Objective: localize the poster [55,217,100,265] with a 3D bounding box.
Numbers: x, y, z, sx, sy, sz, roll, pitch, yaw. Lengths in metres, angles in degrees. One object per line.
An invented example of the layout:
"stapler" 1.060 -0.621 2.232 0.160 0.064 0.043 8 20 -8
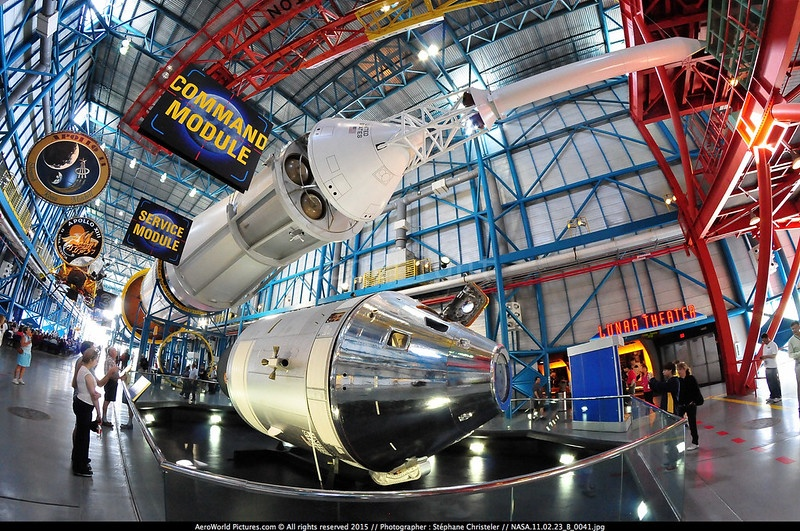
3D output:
"poster" -15.644 -1.264 23.710 1.857 2.213 0.710 16 -26 -35

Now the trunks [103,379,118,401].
"trunks" -8.645 3.727 14.521 0.320 0.635 0.584 13 -24 -30

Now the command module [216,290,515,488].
"command module" -1.209 3.205 12.616 8.425 4.513 4.396 -8 -7 35

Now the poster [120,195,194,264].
"poster" -8.108 -1.152 16.359 2.438 1.684 0.102 21 3 18

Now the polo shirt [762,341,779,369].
"polo shirt" 12.013 2.891 15.780 0.406 0.820 0.432 -14 -25 34
